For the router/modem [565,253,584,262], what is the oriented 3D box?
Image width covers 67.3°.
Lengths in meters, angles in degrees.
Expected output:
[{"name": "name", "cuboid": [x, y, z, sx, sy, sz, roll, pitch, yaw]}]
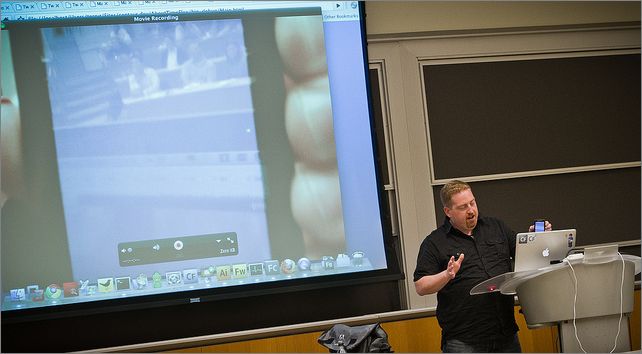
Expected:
[{"name": "router/modem", "cuboid": [1.914, 0.613, 3.637, 0.118, 0.060, 0.028, -7, -6, 4]}]

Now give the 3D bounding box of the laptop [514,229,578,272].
[{"name": "laptop", "cuboid": [1.733, 0.563, 3.755, 0.500, 0.309, 0.331, 0, 0, -12]}]

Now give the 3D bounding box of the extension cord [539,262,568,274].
[{"name": "extension cord", "cuboid": [1.765, 0.691, 3.644, 0.222, 0.079, 0.029, -8, -1, 0]}]
